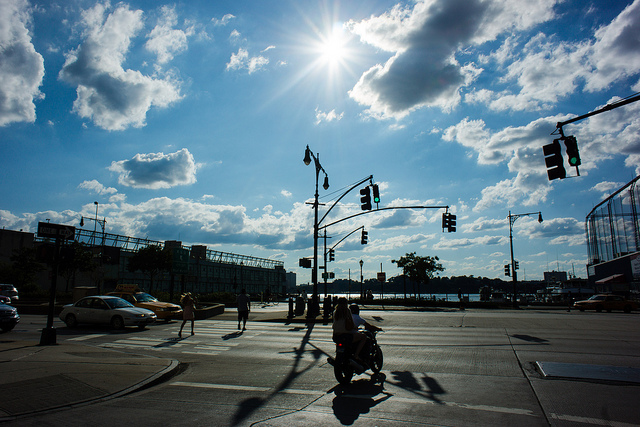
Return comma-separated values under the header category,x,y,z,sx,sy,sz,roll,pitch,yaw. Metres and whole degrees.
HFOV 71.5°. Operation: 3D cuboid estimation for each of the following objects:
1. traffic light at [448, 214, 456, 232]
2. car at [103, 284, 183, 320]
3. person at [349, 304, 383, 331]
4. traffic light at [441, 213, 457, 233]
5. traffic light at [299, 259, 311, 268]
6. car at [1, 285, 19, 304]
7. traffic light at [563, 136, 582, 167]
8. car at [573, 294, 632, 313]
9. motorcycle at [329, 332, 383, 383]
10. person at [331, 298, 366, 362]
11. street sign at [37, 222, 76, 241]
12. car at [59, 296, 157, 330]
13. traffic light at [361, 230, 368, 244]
category,x,y,z,sx,sy,sz,roll,pitch,yaw
traffic light,8.788,0.556,29.545,0.414,1.056,0.575,0,-13,1
car,-12.229,5.816,29.029,5.765,2.222,2.314,0,-5,12
person,1.540,3.343,14.385,1.069,0.626,0.705,0,-4,-26
traffic light,6.935,0.455,23.680,1.109,1.150,0.815,-1,-6,31
traffic light,-1.225,4.092,36.639,0.781,0.867,2.630,1,-14,-4
car,-29.386,7.645,41.986,1.839,1.521,2.977,5,-10,-41
traffic light,9.937,-2.431,17.464,0.406,1.166,0.307,-7,-15,30
car,25.437,7.971,39.651,4.030,1.534,1.330,-1,-13,2
motorcycle,1.165,4.432,13.624,1.816,1.304,0.379,12,-17,-40
person,0.859,3.673,14.039,1.052,1.752,1.094,-4,-17,16
street sign,-10.616,0.696,17.698,0.983,0.558,1.583,2,-15,-9
car,-11.634,5.355,24.108,5.085,1.768,0.810,-4,-13,13
traffic light,3.764,1.937,37.795,0.323,1.088,0.846,1,-13,-4
